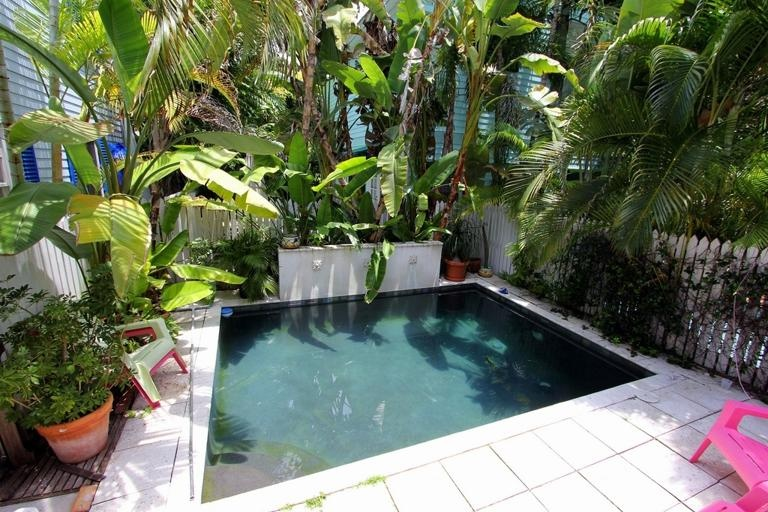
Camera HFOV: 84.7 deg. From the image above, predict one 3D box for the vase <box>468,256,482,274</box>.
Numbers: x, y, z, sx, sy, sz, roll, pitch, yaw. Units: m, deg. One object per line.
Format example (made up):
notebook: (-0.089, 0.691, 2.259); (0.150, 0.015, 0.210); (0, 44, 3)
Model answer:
vase: (2.238, 0.197, 10.307); (0.362, 0.283, 0.365); (-1, 14, -3)

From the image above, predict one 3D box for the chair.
chair: (-3.060, 1.262, 5.460); (0.936, 0.962, 1.079); (-3, 32, -3)

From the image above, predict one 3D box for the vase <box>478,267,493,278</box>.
vase: (2.465, 0.380, 10.072); (0.348, 0.195, 0.259); (6, 14, 9)

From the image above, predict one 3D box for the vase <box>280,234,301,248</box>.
vase: (-1.823, -0.314, 8.211); (0.272, 0.202, 0.279); (5, 9, 27)

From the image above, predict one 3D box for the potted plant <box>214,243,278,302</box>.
potted plant: (-2.527, 0.246, 7.971); (1.069, 0.785, 1.050); (1, 14, -28)

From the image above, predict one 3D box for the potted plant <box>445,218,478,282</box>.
potted plant: (1.837, -0.169, 10.001); (0.726, 1.312, 1.063); (10, 16, 24)
